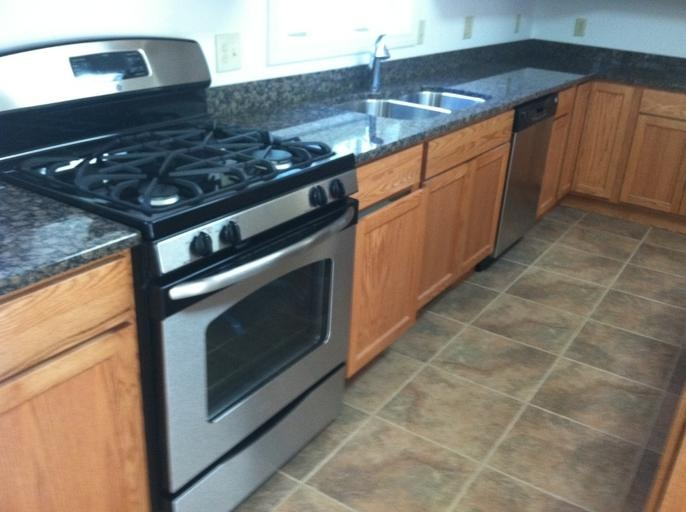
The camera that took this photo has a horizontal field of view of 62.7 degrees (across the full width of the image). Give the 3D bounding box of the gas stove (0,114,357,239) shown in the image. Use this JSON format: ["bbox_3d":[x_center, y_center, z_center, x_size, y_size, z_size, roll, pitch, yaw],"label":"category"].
[{"bbox_3d":[-0.476,-0.262,1.689,0.650,0.136,0.757,18,34,32],"label":"gas stove"}]

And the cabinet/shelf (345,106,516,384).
[{"bbox_3d":[0.367,-0.043,2.438,0.445,0.713,1.325,25,42,32],"label":"cabinet/shelf"}]

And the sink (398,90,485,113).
[{"bbox_3d":[0.503,-0.784,2.855,0.288,0.085,0.206,18,37,25],"label":"sink"}]
